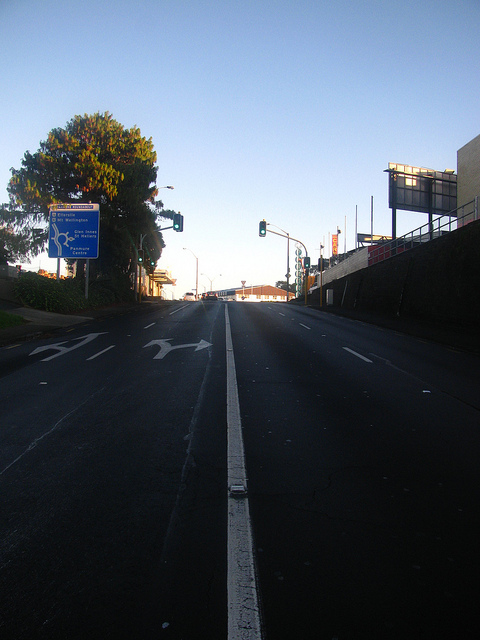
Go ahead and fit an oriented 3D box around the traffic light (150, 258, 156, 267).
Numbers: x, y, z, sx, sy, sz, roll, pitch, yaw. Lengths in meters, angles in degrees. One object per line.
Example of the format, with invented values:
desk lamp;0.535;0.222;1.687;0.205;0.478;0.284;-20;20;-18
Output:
traffic light;-8.119;-5.287;43.145;0.243;0.677;0.561;9;-19;11

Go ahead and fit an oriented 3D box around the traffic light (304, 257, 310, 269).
traffic light;6.067;-5.159;42.336;0.342;0.971;0.782;0;6;-2

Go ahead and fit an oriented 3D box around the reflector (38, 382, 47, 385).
reflector;-3.428;1.106;8.102;0.164;0.017;0.159;2;9;4

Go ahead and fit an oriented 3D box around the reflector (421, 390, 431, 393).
reflector;2.969;1.141;7.414;0.119;0.013;0.143;2;9;8

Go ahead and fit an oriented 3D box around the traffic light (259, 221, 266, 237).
traffic light;1.816;-7.200;36.803;0.354;1.133;0.333;1;5;8

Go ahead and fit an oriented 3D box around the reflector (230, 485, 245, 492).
reflector;-0.022;1.371;3.778;0.117;0.016;0.116;1;9;-1

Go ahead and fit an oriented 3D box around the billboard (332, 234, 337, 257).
billboard;16.340;-12.879;80.003;0.757;3.310;1.398;1;5;11

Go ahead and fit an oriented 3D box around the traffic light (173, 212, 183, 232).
traffic light;-3.825;-5.915;28.494;0.480;1.014;0.611;1;6;1

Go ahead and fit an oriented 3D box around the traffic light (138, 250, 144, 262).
traffic light;-7.509;-4.782;34.993;0.341;0.885;0.682;-1;6;-19

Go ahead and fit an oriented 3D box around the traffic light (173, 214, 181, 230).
traffic light;-3.844;-5.976;28.522;0.439;0.903;0.272;0;5;-2
